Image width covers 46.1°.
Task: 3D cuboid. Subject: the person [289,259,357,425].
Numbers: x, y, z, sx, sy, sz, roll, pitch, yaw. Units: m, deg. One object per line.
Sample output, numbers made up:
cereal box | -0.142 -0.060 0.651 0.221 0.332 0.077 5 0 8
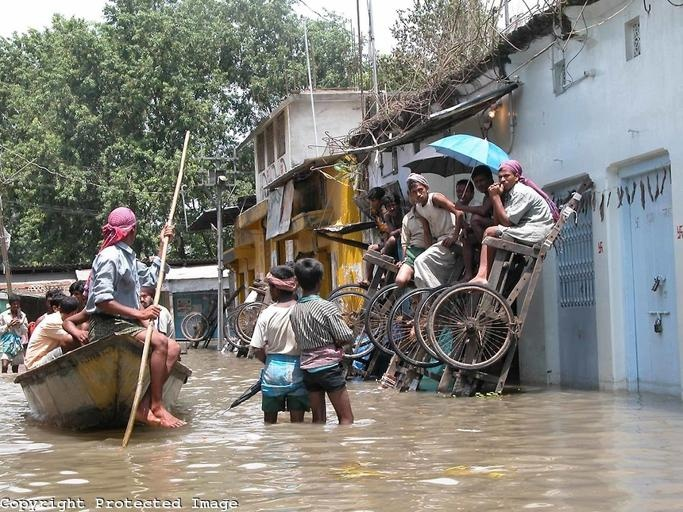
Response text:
person | -0.158 0.857 8.093 0.718 1.593 0.548 -1 -1 44

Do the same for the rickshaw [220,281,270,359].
rickshaw | -2.220 1.608 20.074 1.307 2.562 1.325 0 2 -26

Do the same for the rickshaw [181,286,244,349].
rickshaw | -4.984 2.619 30.049 2.225 3.130 2.131 2 -1 -37

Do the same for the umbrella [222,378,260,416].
umbrella | -1.332 1.879 10.618 0.935 0.218 0.207 -39 5 35

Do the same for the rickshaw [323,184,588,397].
rickshaw | 1.796 0.148 11.063 2.791 2.739 2.206 -1 4 -24
